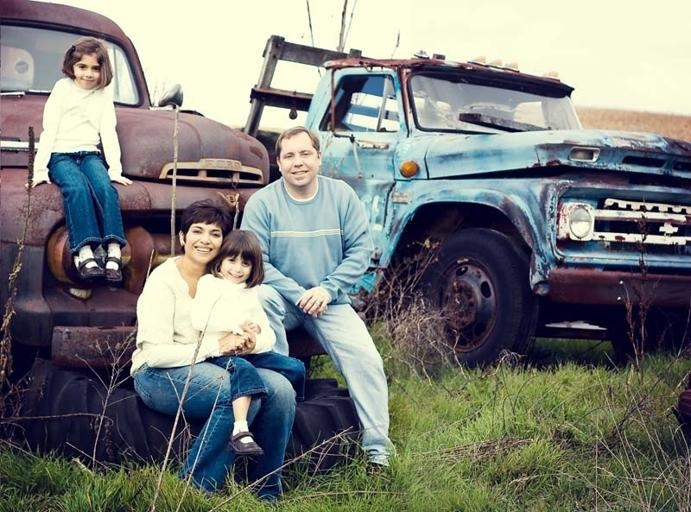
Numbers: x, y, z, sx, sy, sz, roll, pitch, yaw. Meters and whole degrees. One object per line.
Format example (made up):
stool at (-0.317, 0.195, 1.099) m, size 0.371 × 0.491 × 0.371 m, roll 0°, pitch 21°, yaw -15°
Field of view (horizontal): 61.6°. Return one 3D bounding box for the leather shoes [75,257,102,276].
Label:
leather shoes at (-1.700, 0.078, 3.800) m, size 0.203 × 0.099 × 0.074 m, roll 3°, pitch -3°, yaw 20°

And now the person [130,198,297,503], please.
person at (-0.812, 0.487, 3.351) m, size 1.021 × 1.660 × 0.509 m, roll 2°, pitch -3°, yaw 24°

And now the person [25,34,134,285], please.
person at (-1.841, -0.740, 4.093) m, size 0.633 × 1.260 × 0.753 m, roll 5°, pitch -4°, yaw -30°

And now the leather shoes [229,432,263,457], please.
leather shoes at (-0.523, 0.975, 3.010) m, size 0.096 × 0.099 × 0.170 m, roll 6°, pitch -4°, yaw -41°

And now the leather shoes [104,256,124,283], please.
leather shoes at (-1.583, 0.090, 3.918) m, size 0.115 × 0.121 × 0.205 m, roll 5°, pitch -3°, yaw -25°
